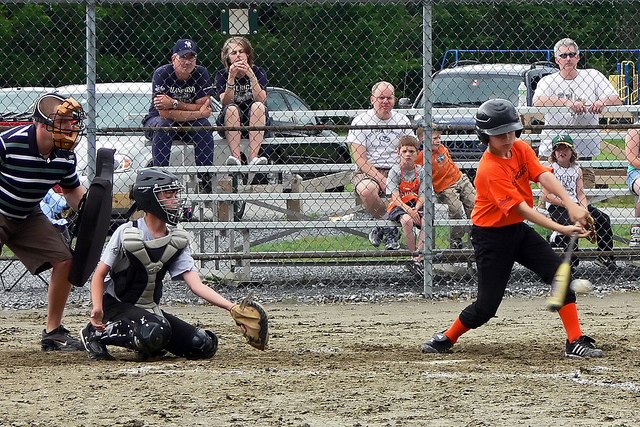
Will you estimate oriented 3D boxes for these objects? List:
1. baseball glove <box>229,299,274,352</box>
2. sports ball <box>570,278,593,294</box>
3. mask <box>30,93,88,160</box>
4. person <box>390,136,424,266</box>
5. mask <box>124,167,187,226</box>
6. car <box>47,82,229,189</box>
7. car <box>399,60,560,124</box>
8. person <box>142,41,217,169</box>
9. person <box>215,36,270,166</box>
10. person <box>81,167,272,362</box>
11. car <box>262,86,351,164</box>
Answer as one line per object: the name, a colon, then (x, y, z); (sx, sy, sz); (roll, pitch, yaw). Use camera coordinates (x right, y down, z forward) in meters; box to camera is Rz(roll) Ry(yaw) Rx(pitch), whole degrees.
baseball glove: (-0.534, 0.972, 9.254); (0.396, 0.481, 0.234); (-8, 22, 29)
sports ball: (2.269, 0.651, 9.108); (0.166, 0.168, 0.322); (0, 11, 6)
mask: (-2.410, -0.818, 9.413); (0.549, 0.502, 0.408); (8, 0, 6)
person: (0.953, -0.223, 11.624); (0.363, 1.219, 0.612); (-1, 12, 2)
mask: (-1.470, -0.167, 9.286); (0.547, 0.431, 0.402); (3, 1, 22)
car: (-2.574, -1.153, 13.492); (1.637, 1.042, 2.485); (-1, -3, 4)
car: (2.066, -1.906, 14.959); (1.397, 0.874, 2.148); (0, 2, 29)
person: (-1.593, -1.191, 11.621); (0.779, 1.437, 0.924); (0, 12, 4)
person: (-0.903, -1.282, 11.874); (0.618, 1.419, 1.456); (-2, 12, -4)
person: (-1.407, 0.511, 9.134); (1.469, 1.744, 0.652); (-4, 13, -11)
car: (-0.282, -1.136, 14.027); (1.825, 0.771, 0.882); (-1, 2, -36)
